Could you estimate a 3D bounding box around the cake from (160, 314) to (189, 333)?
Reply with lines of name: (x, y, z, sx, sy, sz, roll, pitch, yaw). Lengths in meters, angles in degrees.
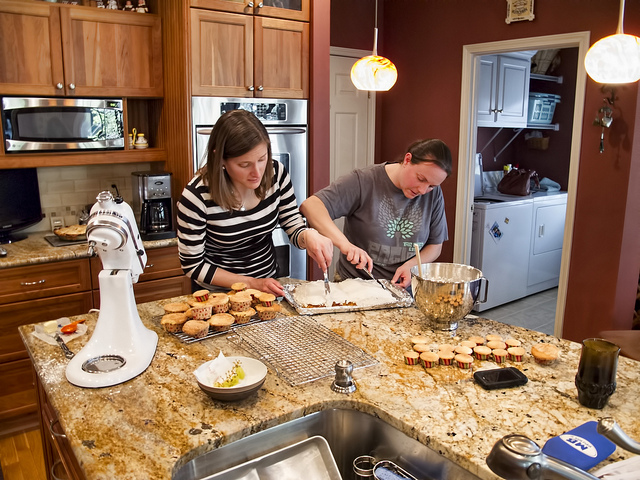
cake: (-0.579, 0.328, 1.793, 0.081, 0.043, 0.086, 2, 7, 6)

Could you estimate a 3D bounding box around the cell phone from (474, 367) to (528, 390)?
cell phone: (0.603, 0.460, 1.515, 0.124, 0.023, 0.071, -4, 19, -18)

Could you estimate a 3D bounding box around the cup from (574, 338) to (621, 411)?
cup: (0.862, 0.404, 1.416, 0.103, 0.198, 0.159, 10, 19, 35)

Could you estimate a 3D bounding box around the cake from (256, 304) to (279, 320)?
cake: (-0.219, 0.302, 1.890, 0.062, 0.044, 0.063, 0, 2, -4)

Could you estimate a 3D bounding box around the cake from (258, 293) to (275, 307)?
cake: (-0.226, 0.254, 1.908, 0.048, 0.034, 0.049, 0, 2, 5)

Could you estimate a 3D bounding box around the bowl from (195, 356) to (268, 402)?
bowl: (-0.276, 0.454, 1.444, 0.198, 0.087, 0.194, -1, 16, 0)

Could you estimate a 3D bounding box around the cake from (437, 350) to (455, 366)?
cake: (0.448, 0.420, 1.620, 0.043, 0.026, 0.044, 2, 8, 30)

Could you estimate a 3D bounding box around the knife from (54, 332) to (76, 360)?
knife: (-0.952, 0.405, 1.699, 0.047, 0.030, 0.254, -14, 20, -31)

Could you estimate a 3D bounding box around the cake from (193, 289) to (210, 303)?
cake: (-0.494, 0.236, 1.918, 0.050, 0.027, 0.051, 0, 3, 36)

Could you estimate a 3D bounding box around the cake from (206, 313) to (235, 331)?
cake: (-0.392, 0.320, 1.820, 0.068, 0.024, 0.070, 6, 12, 9)

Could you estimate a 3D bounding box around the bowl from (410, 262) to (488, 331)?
bowl: (0.524, 0.250, 1.887, 0.309, 0.235, 0.272, 8, 15, 38)

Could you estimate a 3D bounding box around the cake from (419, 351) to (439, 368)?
cake: (0.387, 0.422, 1.614, 0.047, 0.027, 0.047, -1, 4, -13)

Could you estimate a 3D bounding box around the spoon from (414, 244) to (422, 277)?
spoon: (0.425, 0.092, 1.964, 0.018, 0.173, 0.021, -2, -9, -32)
